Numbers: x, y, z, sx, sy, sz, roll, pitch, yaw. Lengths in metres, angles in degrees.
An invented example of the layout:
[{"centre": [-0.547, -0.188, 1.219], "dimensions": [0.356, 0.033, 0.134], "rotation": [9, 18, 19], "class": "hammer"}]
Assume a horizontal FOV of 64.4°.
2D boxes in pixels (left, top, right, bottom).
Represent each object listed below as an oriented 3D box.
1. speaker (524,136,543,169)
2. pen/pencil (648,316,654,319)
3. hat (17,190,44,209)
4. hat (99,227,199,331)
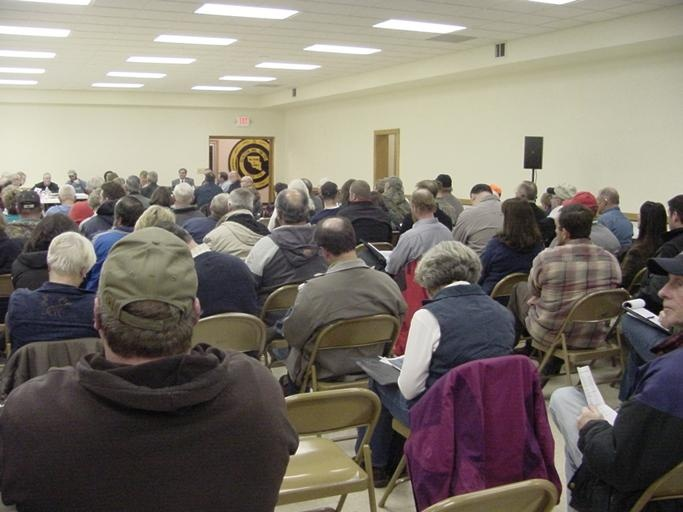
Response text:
[{"centre": [2.892, -1.557, 8.181], "dimensions": [0.241, 0.458, 0.140], "rotation": [3, 10, 4], "class": "speaker"}, {"centre": [1.688, 0.333, 2.964], "dimensions": [0.032, 0.011, 0.009], "rotation": [-11, -3, -36], "class": "pen/pencil"}, {"centre": [-2.865, -0.537, 5.008], "dimensions": [0.142, 0.124, 0.226], "rotation": [-2, 18, -27], "class": "hat"}, {"centre": [-0.446, 0.041, 1.258], "dimensions": [0.171, 0.132, 0.266], "rotation": [2, 34, -20], "class": "hat"}]
